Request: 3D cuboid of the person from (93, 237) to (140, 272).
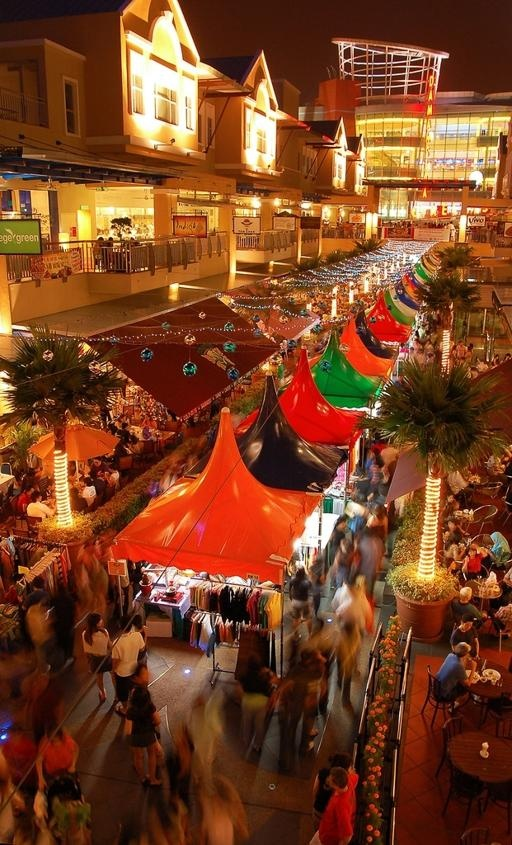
[{"bbox_3d":[-4.630,-5.510,16.406,1.099,0.763,1.200,10,32,8],"label":"person"}]
